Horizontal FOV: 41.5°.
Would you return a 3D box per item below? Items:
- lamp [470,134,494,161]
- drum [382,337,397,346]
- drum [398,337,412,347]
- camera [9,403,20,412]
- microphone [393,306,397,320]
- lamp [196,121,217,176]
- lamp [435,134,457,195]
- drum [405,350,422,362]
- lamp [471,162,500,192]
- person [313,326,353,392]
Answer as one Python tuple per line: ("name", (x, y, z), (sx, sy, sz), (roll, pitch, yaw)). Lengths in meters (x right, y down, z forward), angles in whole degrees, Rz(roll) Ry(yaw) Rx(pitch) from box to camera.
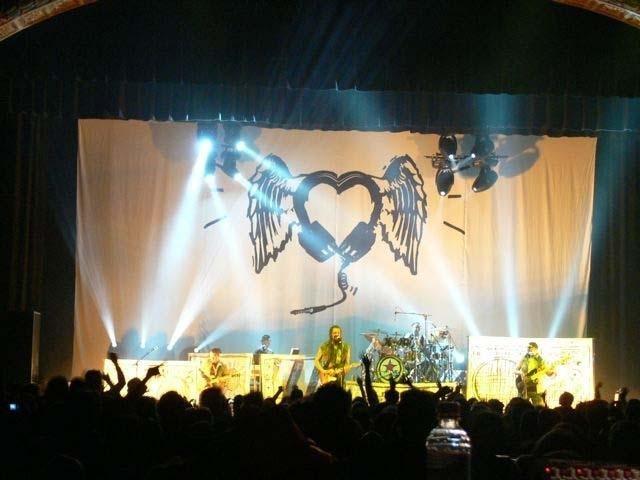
("lamp", (2.572, -1.489, 13.304), (0.341, 0.399, 0.378), (-1, -11, 10))
("drum", (1.038, 1.521, 12.509), (0.207, 0.137, 0.112), (3, -11, -12))
("drum", (1.286, 1.525, 12.516), (0.178, 0.147, 0.125), (-1, -11, 8))
("camera", (-2.737, 1.501, 7.525), (0.090, 0.084, 0.047), (1, -14, -14))
("microphone", (1.206, 1.179, 13.324), (0.032, 0.185, 0.055), (9, -3, -11))
("lamp", (-1.764, -1.468, 13.323), (0.419, 0.761, 0.191), (10, 9, 30))
("lamp", (2.019, -1.184, 13.403), (0.310, 0.328, 0.902), (4, -51, 6))
("drum", (1.379, 1.700, 12.259), (0.254, 0.171, 0.138), (-1, 0, -4))
("lamp", (2.661, -1.003, 13.531), (0.402, 0.414, 0.457), (-1, -11, 11))
("person", (0.237, 1.670, 11.869), (0.493, 0.112, 1.168), (-2, -48, -7))
